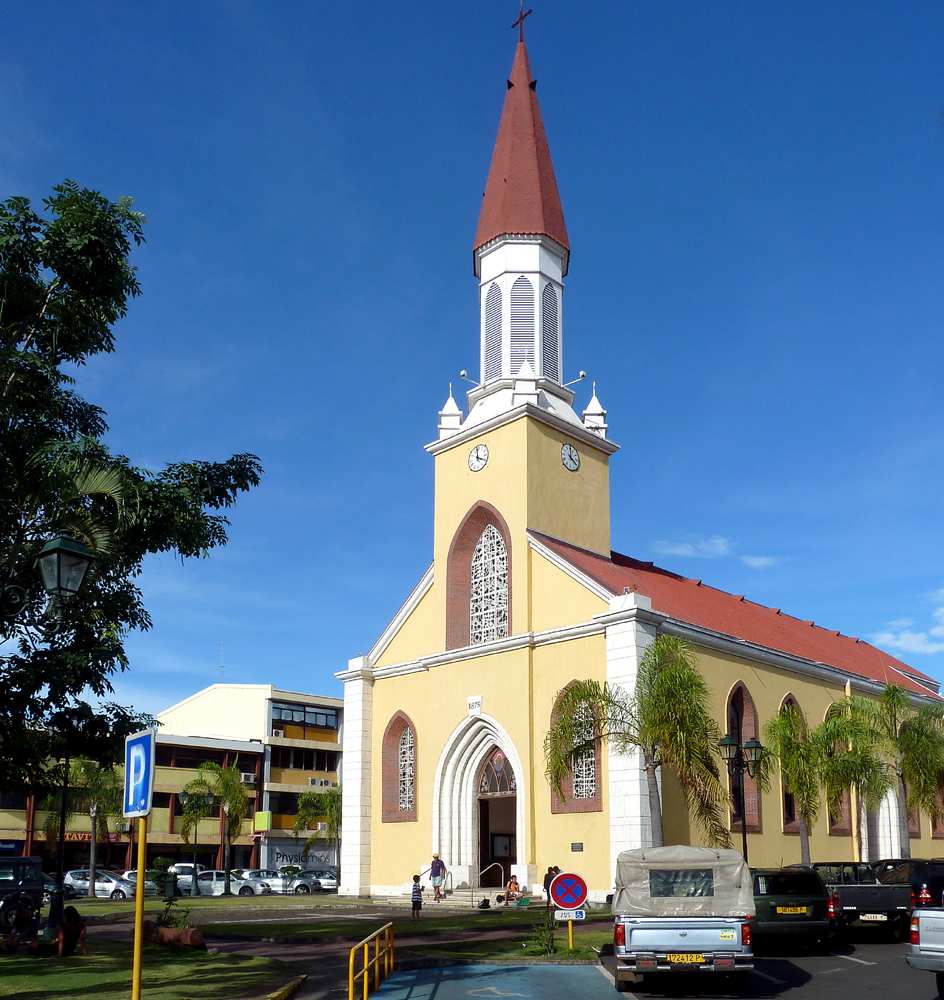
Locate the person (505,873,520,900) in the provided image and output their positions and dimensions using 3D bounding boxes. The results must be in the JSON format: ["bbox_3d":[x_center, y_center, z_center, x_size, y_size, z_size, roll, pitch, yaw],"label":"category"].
[{"bbox_3d":[1.131,10.745,27.108,0.387,0.764,1.009,-1,-20,2],"label":"person"}]

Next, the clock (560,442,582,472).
[{"bbox_3d":[3.309,-1.455,33.101,0.076,0.656,0.645,-12,-54,40],"label":"clock"}]

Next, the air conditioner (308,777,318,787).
[{"bbox_3d":[-11.962,21.265,73.781,0.538,0.659,0.410,6,-16,-28],"label":"air conditioner"}]

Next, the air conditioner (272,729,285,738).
[{"bbox_3d":[-14.449,17.375,73.033,0.576,0.725,0.481,1,-7,-6],"label":"air conditioner"}]

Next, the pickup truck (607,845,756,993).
[{"bbox_3d":[2.526,5.022,11.801,1.666,1.642,1.668,-6,-20,14],"label":"pickup truck"}]

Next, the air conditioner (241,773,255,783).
[{"bbox_3d":[-15.728,19.701,69.139,0.435,0.865,1.426,-8,-22,21],"label":"air conditioner"}]

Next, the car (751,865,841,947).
[{"bbox_3d":[5.126,6.652,15.882,0.911,1.068,1.819,-1,-11,5],"label":"car"}]
